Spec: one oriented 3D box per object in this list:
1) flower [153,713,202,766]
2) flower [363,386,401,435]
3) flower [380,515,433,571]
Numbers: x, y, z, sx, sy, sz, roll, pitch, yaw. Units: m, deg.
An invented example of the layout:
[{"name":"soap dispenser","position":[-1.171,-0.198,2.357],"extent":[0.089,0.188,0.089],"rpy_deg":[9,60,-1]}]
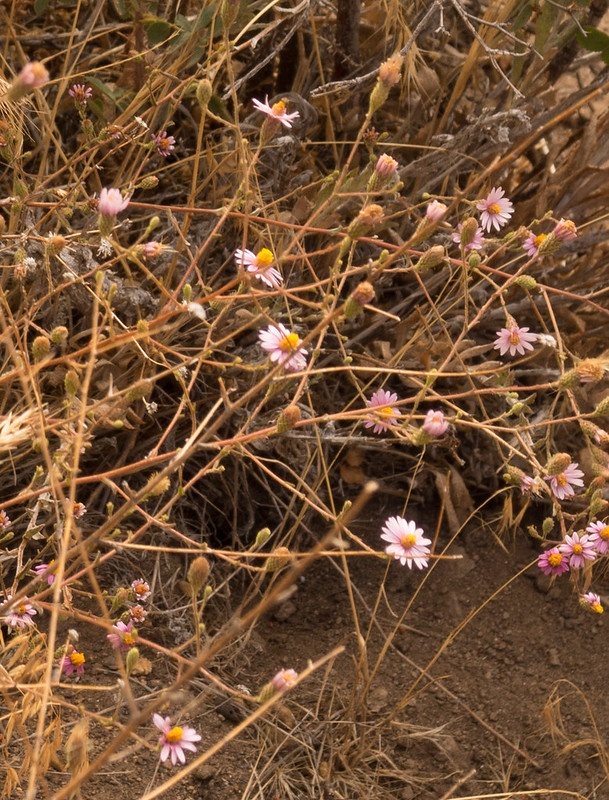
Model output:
[{"name":"flower","position":[-0.209,0.538,1.289],"extent":[0.081,0.081,0.039],"rpy_deg":[1,68,36]},{"name":"flower","position":[0.142,0.028,1.502],"extent":[0.109,0.032,0.091],"rpy_deg":[-2,102,-1]},{"name":"flower","position":[0.187,0.269,1.527],"extent":[0.101,0.088,0.037],"rpy_deg":[11,94,-13]}]
